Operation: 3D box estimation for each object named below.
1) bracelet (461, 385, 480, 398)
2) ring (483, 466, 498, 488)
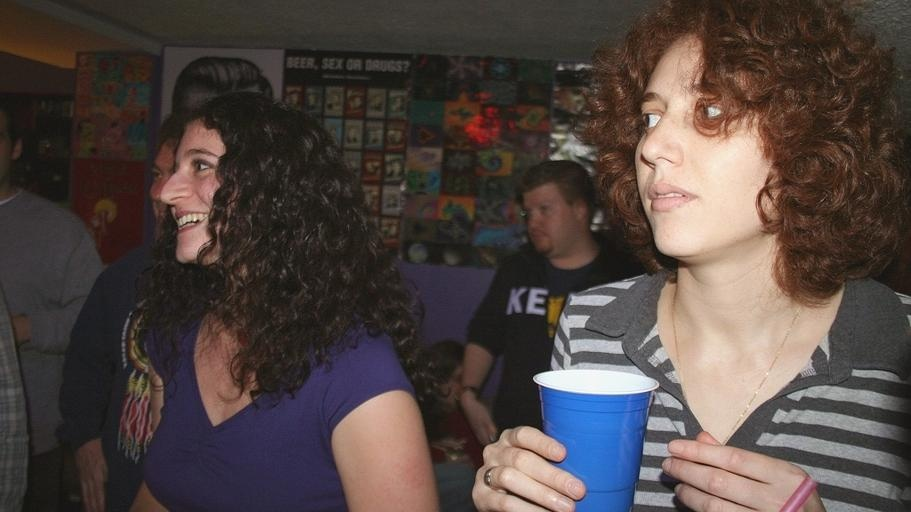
[{"bbox_3d":[0.103,0.826,4.523,0.082,0.066,0.080,2,3,26],"label":"bracelet"},{"bbox_3d":[0.129,0.794,2.662,0.017,0.074,0.057,-1,4,-32],"label":"ring"}]
